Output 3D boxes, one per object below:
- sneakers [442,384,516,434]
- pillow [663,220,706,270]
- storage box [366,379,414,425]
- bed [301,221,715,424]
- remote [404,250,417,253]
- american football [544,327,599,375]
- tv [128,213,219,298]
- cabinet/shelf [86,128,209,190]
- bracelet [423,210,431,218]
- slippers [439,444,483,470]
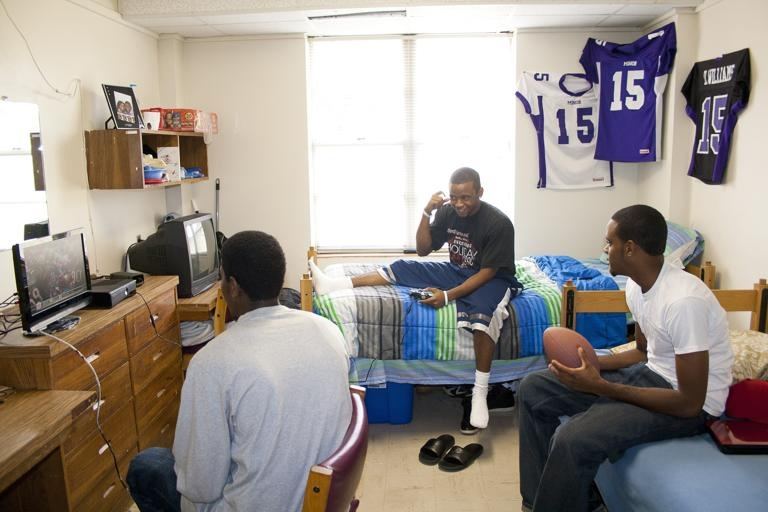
[{"bbox_3d":[0.712,1.136,4.115,0.212,0.276,0.652,-3,-2,43],"label":"sneakers"},{"bbox_3d":[2.346,-0.071,4.218,0.314,0.086,0.306,-46,44,-3],"label":"pillow"},{"bbox_3d":[0.043,1.065,4.057,0.328,0.204,0.322,-1,-5,-1],"label":"storage box"},{"bbox_3d":[0.696,0.381,4.182,2.352,0.903,1.461,0,12,3],"label":"bed"},{"bbox_3d":[0.261,-0.042,5.464,0.131,0.024,0.034,-1,14,4],"label":"remote"},{"bbox_3d":[1.055,0.510,3.107,0.273,0.171,0.193,43,33,25],"label":"american football"},{"bbox_3d":[-1.680,-0.087,4.351,0.667,0.656,0.652,3,13,2],"label":"tv"},{"bbox_3d":[-1.872,-0.837,4.548,0.434,0.475,1.340,-1,14,10],"label":"cabinet/shelf"},{"bbox_3d":[0.353,-0.333,4.396,0.050,0.055,0.056,0,9,-1],"label":"bracelet"},{"bbox_3d":[0.529,1.333,3.630,0.350,0.080,0.151,-16,19,-42],"label":"slippers"}]
